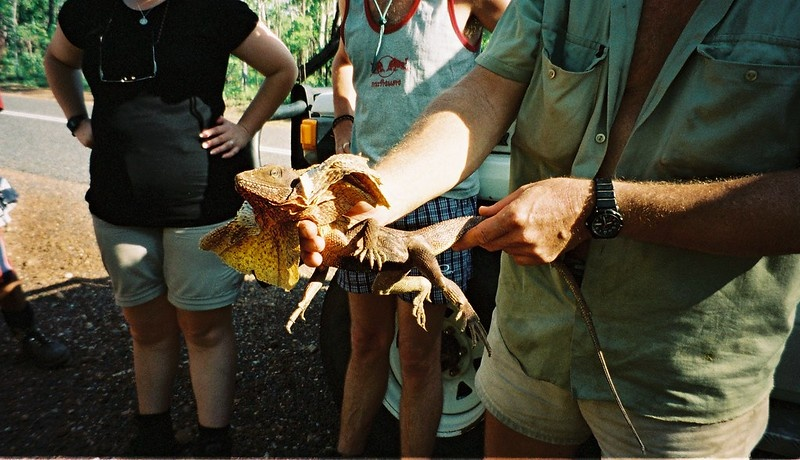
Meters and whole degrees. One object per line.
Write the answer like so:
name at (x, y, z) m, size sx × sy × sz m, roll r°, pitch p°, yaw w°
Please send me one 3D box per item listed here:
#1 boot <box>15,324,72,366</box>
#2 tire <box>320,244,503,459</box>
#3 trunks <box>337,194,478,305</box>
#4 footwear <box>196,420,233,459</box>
boot at (-3.304, 1.088, 5.438) m, size 0.571 × 0.354 × 0.242 m, roll 24°, pitch 54°, yaw -14°
tire at (-0.236, 0.932, 5.085) m, size 1.686 × 1.551 × 0.391 m, roll -2°, pitch 0°, yaw 6°
trunks at (0.151, 0.230, 4.231) m, size 0.311 × 0.926 × 0.749 m, roll 43°, pitch 36°, yaw -14°
footwear at (-1.436, 1.639, 4.409) m, size 0.280 × 0.264 × 0.271 m, roll -1°, pitch -4°, yaw -1°
